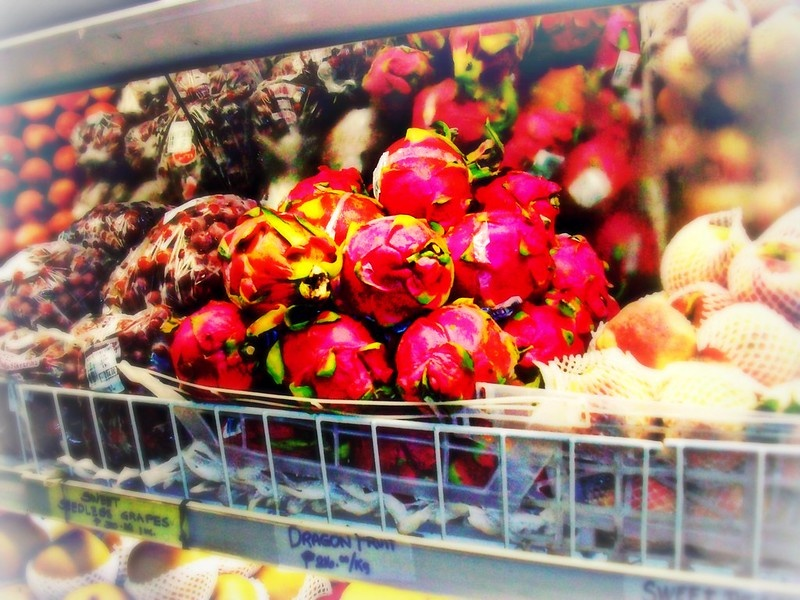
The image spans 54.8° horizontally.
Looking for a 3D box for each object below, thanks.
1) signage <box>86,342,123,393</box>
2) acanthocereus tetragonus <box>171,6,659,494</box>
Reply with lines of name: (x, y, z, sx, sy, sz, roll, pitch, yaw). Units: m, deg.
signage: (-0.566, 0.131, 1.483, 0.072, 0.083, 0.077, -8, -1, 35)
acanthocereus tetragonus: (0.007, -0.191, 1.514, 0.821, 0.799, 0.330, -33, 37, 1)
